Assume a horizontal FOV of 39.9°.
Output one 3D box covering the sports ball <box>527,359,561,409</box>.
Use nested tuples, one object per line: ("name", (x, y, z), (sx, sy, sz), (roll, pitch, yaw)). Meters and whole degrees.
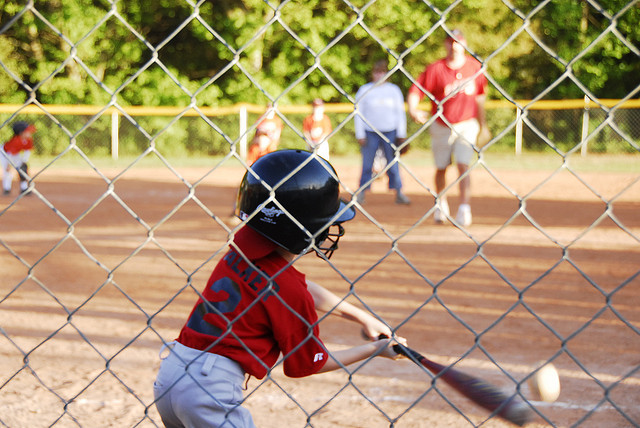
("sports ball", (1.780, 1.444, 7.236), (0.194, 0.448, 0.398), (-9, -1, 26))
